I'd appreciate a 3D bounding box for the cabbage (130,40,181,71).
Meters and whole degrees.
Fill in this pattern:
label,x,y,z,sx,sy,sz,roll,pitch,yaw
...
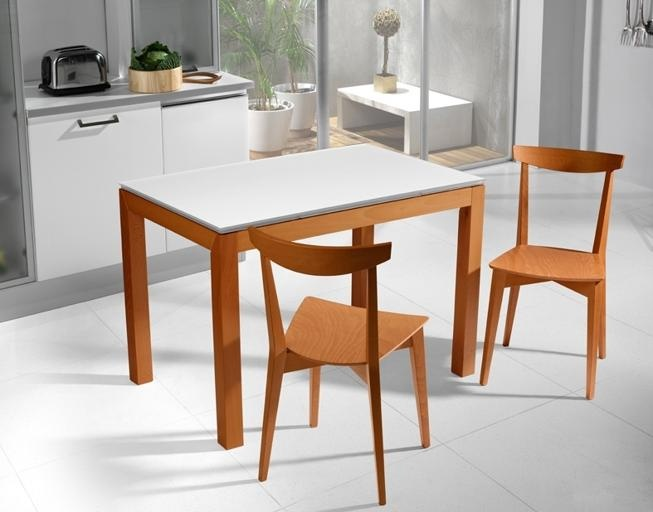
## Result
label,x,y,z,sx,sy,sz,roll,pitch,yaw
cabbage,-1.113,-1.259,3.534,0.271,0.137,0.225,-9,16,-42

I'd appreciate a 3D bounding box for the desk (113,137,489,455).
label,x,y,z,sx,sy,sz,roll,pitch,yaw
desk,-0.159,0.216,2.633,1.733,1.379,1.157,-13,23,-35

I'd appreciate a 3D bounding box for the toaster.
label,x,y,z,sx,sy,sz,roll,pitch,yaw
toaster,-1.611,-1.191,3.448,0.237,0.279,0.368,30,38,29

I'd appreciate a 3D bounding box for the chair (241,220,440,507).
label,x,y,z,sx,sy,sz,roll,pitch,yaw
chair,0.069,0.339,2.023,0.722,0.979,0.632,-8,18,-18
